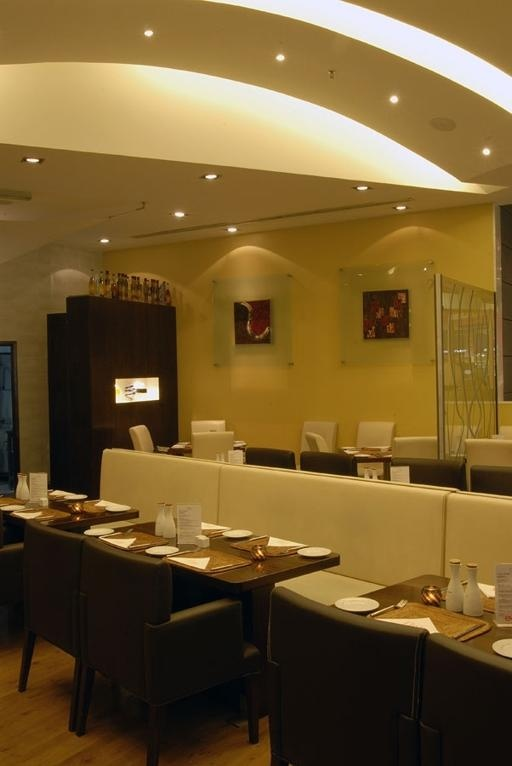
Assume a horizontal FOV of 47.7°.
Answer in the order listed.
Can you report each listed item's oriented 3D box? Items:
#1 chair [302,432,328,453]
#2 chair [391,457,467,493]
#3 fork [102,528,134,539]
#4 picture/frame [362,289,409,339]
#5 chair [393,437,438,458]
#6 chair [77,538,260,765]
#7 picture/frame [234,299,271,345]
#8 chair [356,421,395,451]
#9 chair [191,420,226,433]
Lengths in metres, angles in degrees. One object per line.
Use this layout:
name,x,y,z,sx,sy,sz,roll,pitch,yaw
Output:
chair,0.658,0.665,6.348,0.209,0.201,0.474,0,-2,5
chair,1.327,0.630,4.169,0.386,0.307,0.231,1,4,38
fork,-0.698,0.771,2.941,0.068,0.025,0.115,3,4,3
picture/frame,1.695,-0.901,7.555,0.582,0.677,0.008,-1,26,12
chair,1.462,0.601,5.347,0.406,0.180,0.240,1,-2,-15
chair,-0.393,0.873,2.513,0.723,1.101,0.698,-4,5,-42
picture/frame,-0.034,-0.912,8.526,0.560,0.691,0.082,5,8,38
chair,1.504,0.700,7.451,0.333,0.562,0.406,0,-4,27
chair,-0.658,0.615,8.090,0.298,0.194,0.221,2,-10,1
